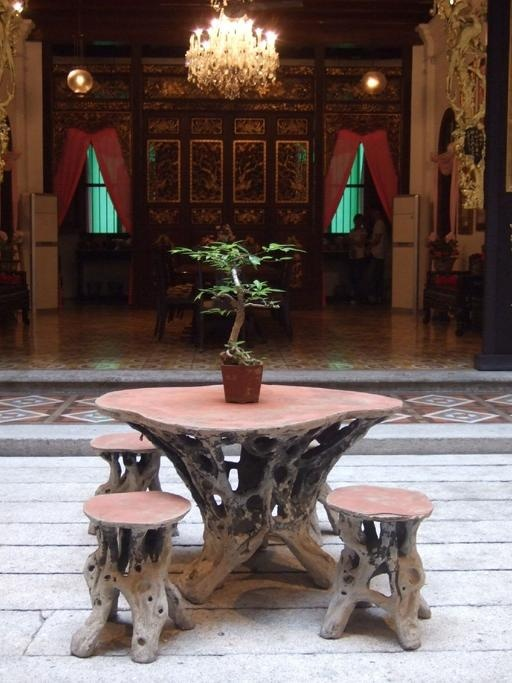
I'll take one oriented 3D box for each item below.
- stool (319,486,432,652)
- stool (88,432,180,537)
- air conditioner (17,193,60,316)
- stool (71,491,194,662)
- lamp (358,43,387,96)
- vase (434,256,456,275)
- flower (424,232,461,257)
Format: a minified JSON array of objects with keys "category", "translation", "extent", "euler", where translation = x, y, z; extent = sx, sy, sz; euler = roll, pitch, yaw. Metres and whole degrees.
[{"category":"stool","translation":[0.334,0.602,2.093],"extent":[0.293,0.367,0.389],"euler":[-1,9,12]},{"category":"stool","translation":[-0.408,0.526,2.838],"extent":[0.468,0.353,0.382],"euler":[1,4,4]},{"category":"air conditioner","translation":[-2.965,-1.202,10.452],"extent":[0.386,1.605,0.714],"euler":[-1,11,14]},{"category":"stool","translation":[-0.322,0.612,2.014],"extent":[0.343,0.311,0.355],"euler":[3,0,44]},{"category":"lamp","translation":[1.674,-3.733,10.815],"extent":[0.300,0.570,1.055],"euler":[-1,8,12]},{"category":"vase","translation":[2.348,-0.951,9.532],"extent":[0.290,0.177,0.265],"euler":[0,2,19]},{"category":"flower","translation":[2.305,-1.184,9.639],"extent":[0.478,0.259,0.442],"euler":[1,5,23]}]
